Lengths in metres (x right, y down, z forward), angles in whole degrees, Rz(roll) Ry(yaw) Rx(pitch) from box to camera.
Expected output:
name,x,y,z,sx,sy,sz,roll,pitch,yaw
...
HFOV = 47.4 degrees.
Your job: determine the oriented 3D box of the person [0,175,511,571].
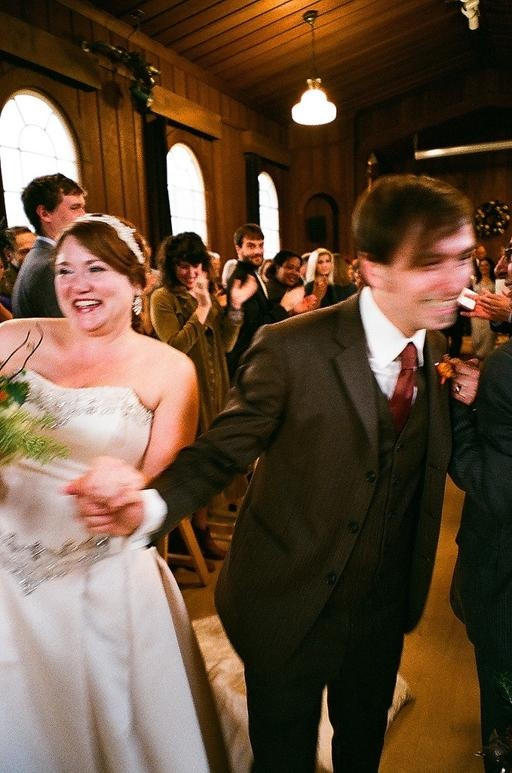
name,x,y,z,sx,sy,sz,roll,pitch,yaw
person,0.087,0.019,1.067,0.858,0.749,0.301,-8,17,-19
